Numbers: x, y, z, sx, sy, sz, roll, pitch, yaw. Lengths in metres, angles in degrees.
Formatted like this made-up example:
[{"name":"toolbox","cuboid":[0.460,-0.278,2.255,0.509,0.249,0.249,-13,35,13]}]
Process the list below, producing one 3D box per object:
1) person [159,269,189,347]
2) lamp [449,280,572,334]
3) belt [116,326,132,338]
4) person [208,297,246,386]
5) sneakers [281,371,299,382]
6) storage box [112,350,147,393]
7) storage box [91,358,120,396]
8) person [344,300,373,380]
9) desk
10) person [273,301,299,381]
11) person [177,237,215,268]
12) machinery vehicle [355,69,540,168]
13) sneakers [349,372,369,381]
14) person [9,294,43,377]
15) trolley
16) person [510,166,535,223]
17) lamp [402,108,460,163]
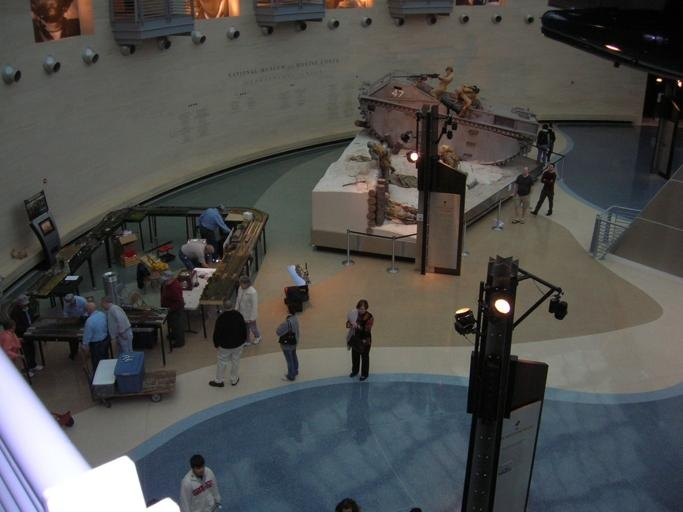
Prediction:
[{"name":"person","cuboid":[-3.304,1.050,10.637,0.497,1.654,0.632,1,35,-11]},{"name":"lamp","cuboid":[2.200,0.530,6.671,1.138,0.731,0.270,1,23,-8]},{"name":"belt","cuboid":[-3.840,1.322,9.517,0.250,0.172,0.194,-6,-4,-6]},{"name":"person","cuboid":[-1.985,1.482,9.447,0.603,1.677,0.417,-9,29,-29]},{"name":"sneakers","cuboid":[-0.942,2.193,9.907,0.292,0.138,0.114,9,29,13]},{"name":"storage box","cuboid":[-3.631,1.977,9.257,0.410,0.418,0.613,0,11,-7]},{"name":"storage box","cuboid":[-4.014,2.031,9.185,0.364,0.289,0.578,-1,24,-8]},{"name":"person","cuboid":[0.319,1.475,9.486,0.475,1.520,0.457,12,23,29]},{"name":"desk","cuboid":[-4.007,1.511,13.839,3.202,1.346,5.022,0,36,4]},{"name":"person","cuboid":[-0.928,1.503,9.633,0.384,1.561,1.156,4,5,-2]},{"name":"person","cuboid":[-3.328,-0.054,12.550,0.837,0.639,0.456,8,6,30]},{"name":"machinery vehicle","cuboid":[3.660,-4.871,19.878,6.249,3.032,4.378,10,16,5]},{"name":"sneakers","cuboid":[0.329,2.209,9.923,0.347,0.150,0.125,2,19,7]},{"name":"person","cuboid":[-5.802,1.422,9.976,0.470,1.491,0.508,2,14,1]},{"name":"trolley","cuboid":[-3.717,2.159,9.252,1.161,0.594,0.762,2,38,-7]},{"name":"person","cuboid":[5.250,-1.809,15.604,0.474,1.596,0.471,3,26,10]},{"name":"lamp","cuboid":[1.913,-2.632,12.036,0.643,1.315,1.127,-4,16,29]}]
